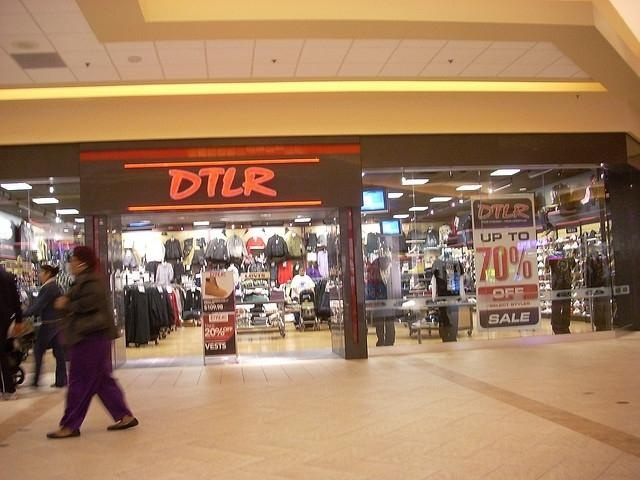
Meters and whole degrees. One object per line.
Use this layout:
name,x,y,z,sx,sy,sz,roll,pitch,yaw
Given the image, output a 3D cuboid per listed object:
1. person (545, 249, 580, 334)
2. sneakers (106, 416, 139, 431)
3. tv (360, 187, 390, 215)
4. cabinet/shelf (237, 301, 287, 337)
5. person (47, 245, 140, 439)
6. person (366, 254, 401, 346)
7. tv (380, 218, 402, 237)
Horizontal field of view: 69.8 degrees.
person,4.533,0.950,8.572,0.567,1.543,0.173,0,-6,-23
sneakers,-1.968,1.835,4.642,0.338,0.133,0.127,0,-3,-6
tv,0.933,-0.691,8.116,0.648,0.594,0.361,0,3,0
cabinet/shelf,-1.347,1.788,10.386,1.051,0.834,1.240,-1,-5,-10
person,-2.265,0.991,4.537,0.597,1.803,0.798,-9,-9,44
person,1.064,1.047,7.959,0.488,1.544,0.117,0,-5,-19
tv,1.241,-0.217,8.047,0.443,0.339,0.247,0,2,-3
